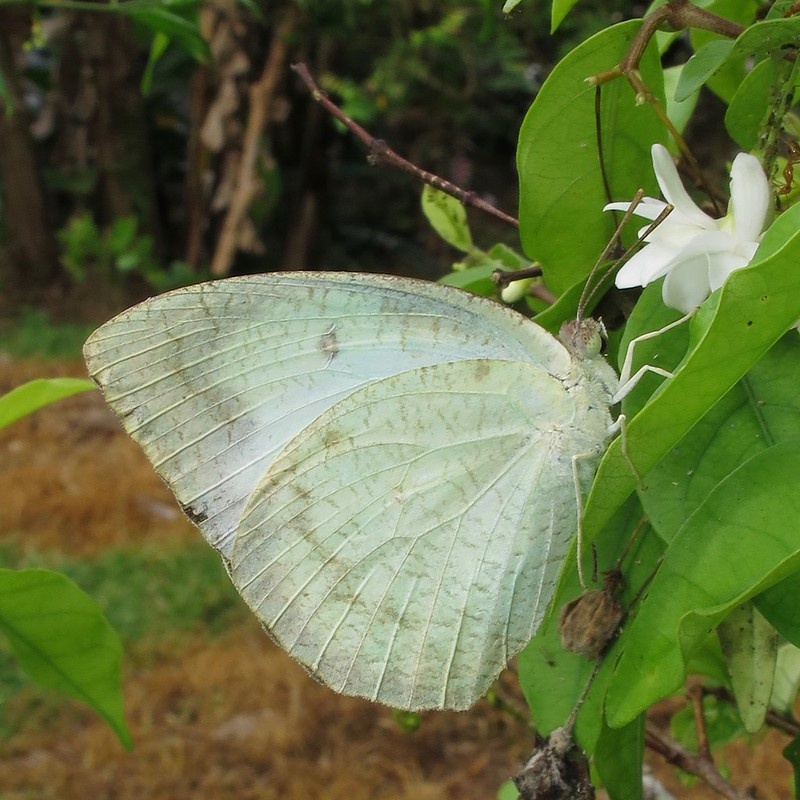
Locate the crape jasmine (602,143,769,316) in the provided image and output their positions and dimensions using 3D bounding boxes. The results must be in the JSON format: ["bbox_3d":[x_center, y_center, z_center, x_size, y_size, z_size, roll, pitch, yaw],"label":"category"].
[{"bbox_3d":[0.316,-0.192,1.147,0.166,0.174,0.228,13,44,-1],"label":"crape jasmine"}]

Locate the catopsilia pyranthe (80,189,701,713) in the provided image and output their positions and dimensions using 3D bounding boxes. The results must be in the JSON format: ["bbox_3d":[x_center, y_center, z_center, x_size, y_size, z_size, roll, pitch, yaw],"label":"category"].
[{"bbox_3d":[-0.009,0.061,1.407,0.685,0.652,0.436,40,52,24],"label":"catopsilia pyranthe"}]
